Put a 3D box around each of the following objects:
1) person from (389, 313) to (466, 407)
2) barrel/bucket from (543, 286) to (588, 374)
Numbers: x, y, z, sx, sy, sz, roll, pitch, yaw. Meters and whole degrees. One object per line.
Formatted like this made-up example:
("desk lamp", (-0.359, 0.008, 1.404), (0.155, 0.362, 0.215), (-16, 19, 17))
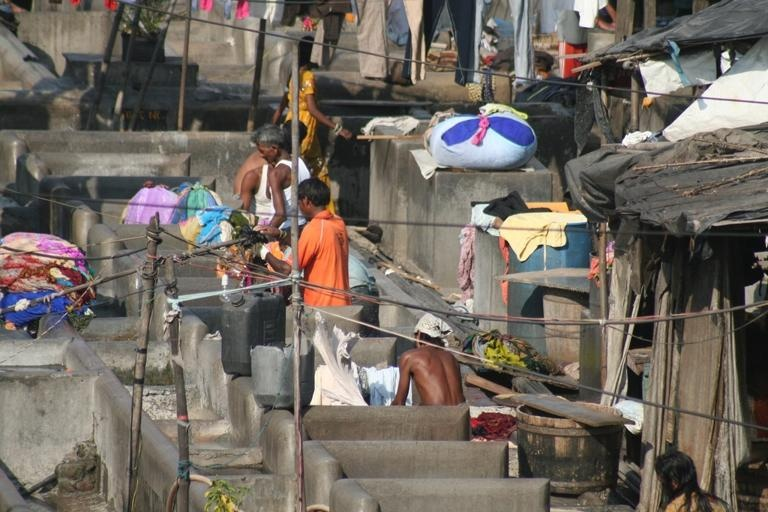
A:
("person", (0.609, 1.430, 32.219), (0.828, 0.987, 1.322), (-1, 89, -14))
("barrel/bucket", (2.752, 1.077, 35.154), (0.614, 0.605, 1.237), (0, 85, 8))
